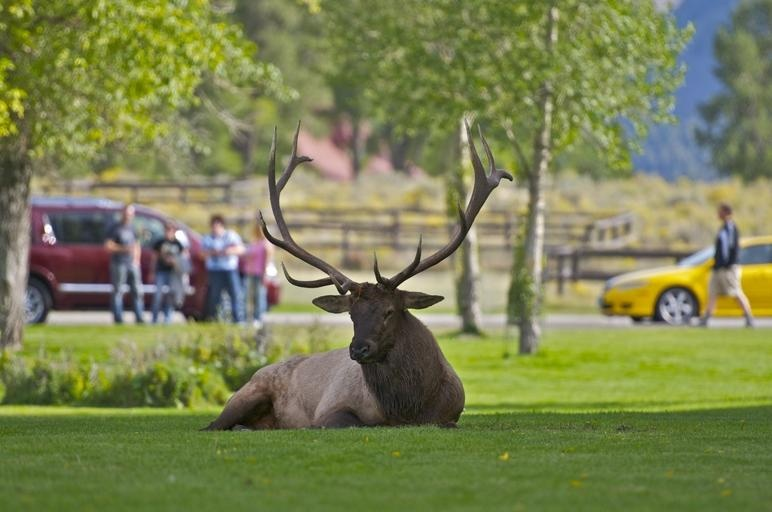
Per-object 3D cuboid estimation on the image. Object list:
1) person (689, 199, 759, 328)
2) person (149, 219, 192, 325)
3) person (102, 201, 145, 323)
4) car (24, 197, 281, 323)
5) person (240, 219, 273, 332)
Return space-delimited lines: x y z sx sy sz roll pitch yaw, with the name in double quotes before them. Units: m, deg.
"person" 5.327 0.130 33.236 0.992 1.880 0.533 4 5 42
"person" -3.665 0.315 36.488 0.589 1.725 0.499 6 -6 -9
"person" -4.290 0.149 35.845 0.704 1.936 0.574 -1 0 -36
"car" -4.523 0.065 38.444 6.014 2.305 2.596 1 6 2
"person" -2.246 0.351 37.243 0.480 1.778 0.521 4 -2 9
